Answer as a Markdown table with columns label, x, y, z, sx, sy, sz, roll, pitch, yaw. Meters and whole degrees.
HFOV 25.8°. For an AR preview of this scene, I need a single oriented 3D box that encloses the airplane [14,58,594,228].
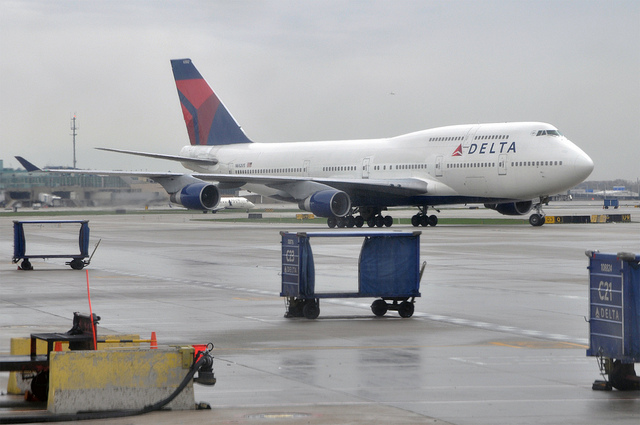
| label | x | y | z | sx | sy | sz | roll | pitch | yaw |
| --- | --- | --- | --- | --- | --- | --- | --- | --- | --- |
| airplane | 0.033 | -3.097 | 69.508 | 26.951 | 8.043 | 15.854 | 4 | 9 | 24 |
